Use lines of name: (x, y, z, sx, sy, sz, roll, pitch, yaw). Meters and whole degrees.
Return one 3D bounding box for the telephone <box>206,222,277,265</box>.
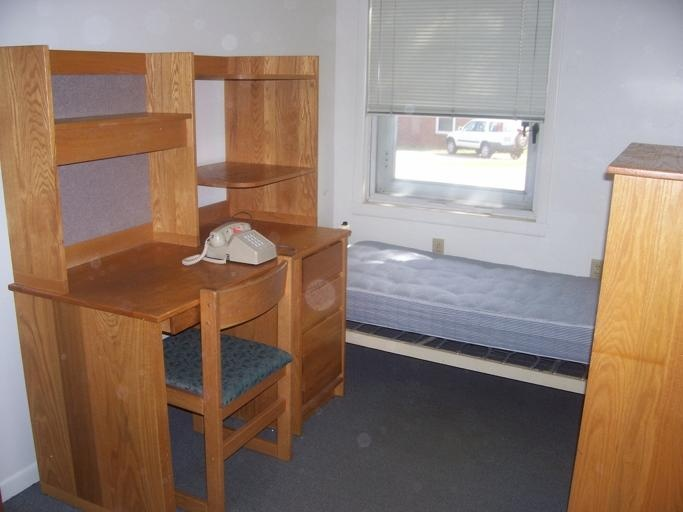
telephone: (-0.430, -0.048, 2.427, 0.199, 0.110, 0.234, 8, 17, 14)
